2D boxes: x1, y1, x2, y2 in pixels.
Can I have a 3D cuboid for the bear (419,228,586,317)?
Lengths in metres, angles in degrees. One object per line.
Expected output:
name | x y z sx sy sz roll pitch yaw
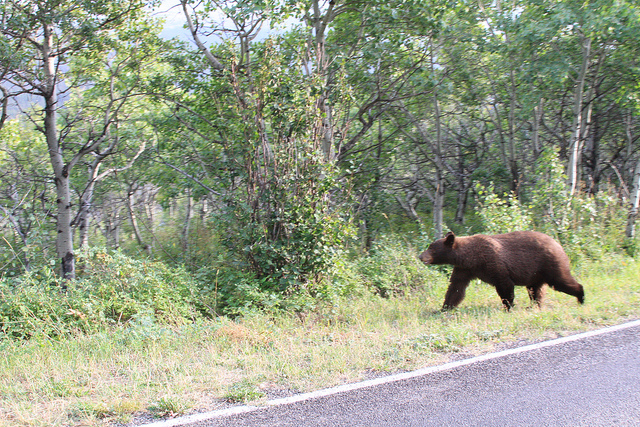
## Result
bear | 4.977 1.560 22.627 3.775 2.205 1.076 -6 -7 12
